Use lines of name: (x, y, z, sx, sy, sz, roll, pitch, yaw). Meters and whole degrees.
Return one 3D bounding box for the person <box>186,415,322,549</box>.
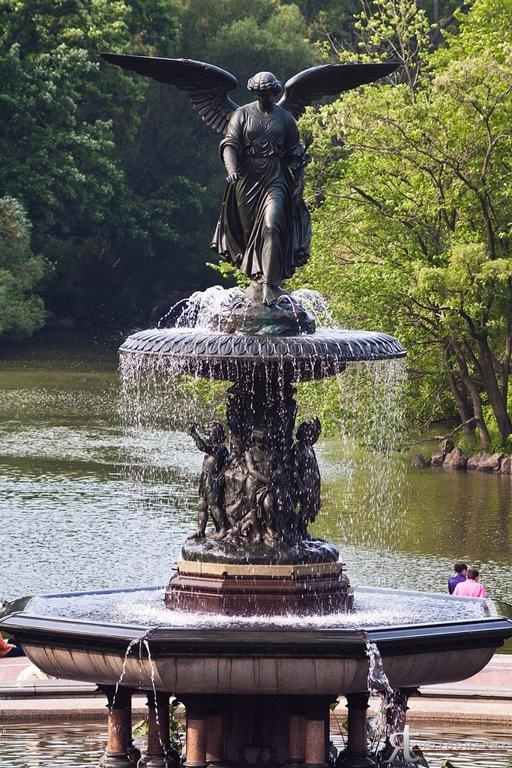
person: (-0.048, 0.871, 20.499, 1.193, 1.054, 0.892, 1, 8, -2)
